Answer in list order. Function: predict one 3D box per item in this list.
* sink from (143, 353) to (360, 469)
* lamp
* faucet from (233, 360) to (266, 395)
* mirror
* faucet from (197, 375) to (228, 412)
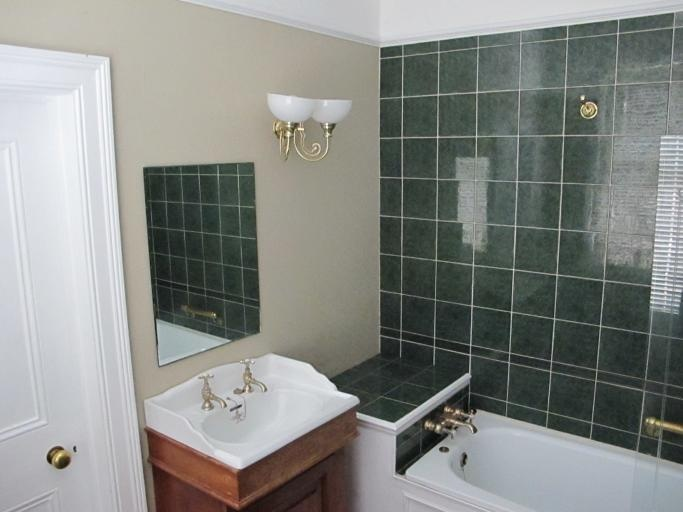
[{"bbox_3d":[-0.428,0.745,2.698,0.451,0.223,0.629,7,13,33],"label":"sink"},{"bbox_3d":[-0.205,-0.681,3.004,0.448,0.372,0.447,-9,15,-25],"label":"lamp"},{"bbox_3d":[-0.477,0.620,2.840,0.203,0.163,0.135,1,6,10],"label":"faucet"},{"bbox_3d":[-0.713,0.030,2.727,0.015,1.318,0.875,8,13,35],"label":"mirror"},{"bbox_3d":[-0.615,0.655,2.648,0.157,0.175,0.075,10,14,32],"label":"faucet"}]
